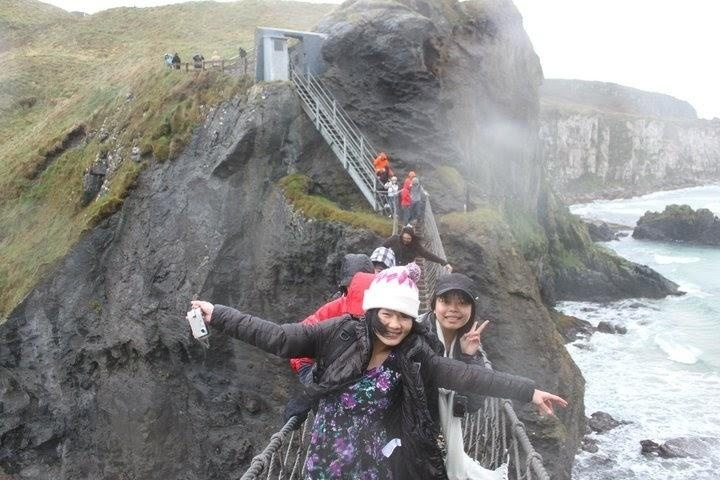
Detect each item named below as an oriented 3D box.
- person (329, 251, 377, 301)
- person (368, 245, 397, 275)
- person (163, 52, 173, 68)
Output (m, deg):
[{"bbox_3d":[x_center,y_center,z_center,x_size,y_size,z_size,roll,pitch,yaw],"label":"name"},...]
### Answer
[{"bbox_3d":[-0.117,0.980,15.809,1.187,1.247,1.080,-7,-4,40],"label":"person"},{"bbox_3d":[0.684,0.550,16.265,0.541,0.840,0.800,6,-7,7],"label":"person"},{"bbox_3d":[-10.028,-9.457,29.212,0.420,0.599,1.647,-1,18,-19],"label":"person"}]
